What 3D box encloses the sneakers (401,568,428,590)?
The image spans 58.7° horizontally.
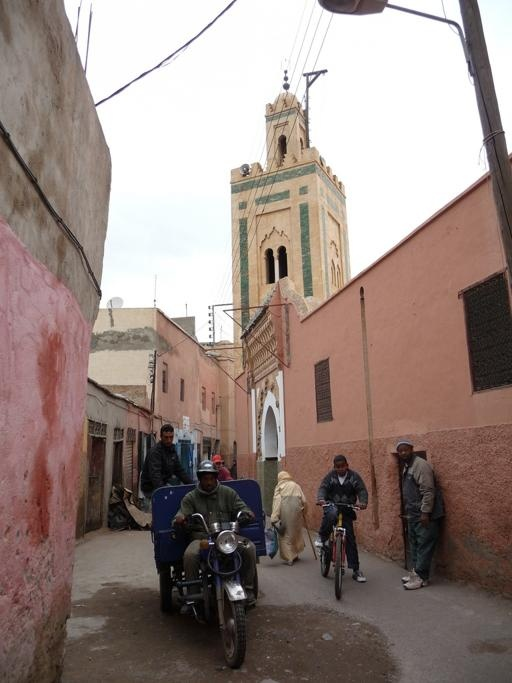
[{"bbox_3d":[2.025,3.013,5.841,0.317,0.204,0.185,0,-15,-20],"label":"sneakers"}]

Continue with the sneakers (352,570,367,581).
[{"bbox_3d":[1.413,3.185,6.267,0.076,0.119,0.237,-2,-20,-1],"label":"sneakers"}]

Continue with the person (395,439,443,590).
[{"bbox_3d":[2.194,2.235,6.055,0.635,1.800,0.537,-2,-12,6],"label":"person"}]

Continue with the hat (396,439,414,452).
[{"bbox_3d":[2.084,1.428,6.349,0.228,0.160,0.335,-3,-17,12],"label":"hat"}]

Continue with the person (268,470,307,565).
[{"bbox_3d":[0.569,3.123,8.237,0.697,1.540,0.695,2,-13,-12],"label":"person"}]

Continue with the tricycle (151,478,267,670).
[{"bbox_3d":[-0.496,1.908,4.135,0.670,1.229,1.719,1,-3,-28],"label":"tricycle"}]
